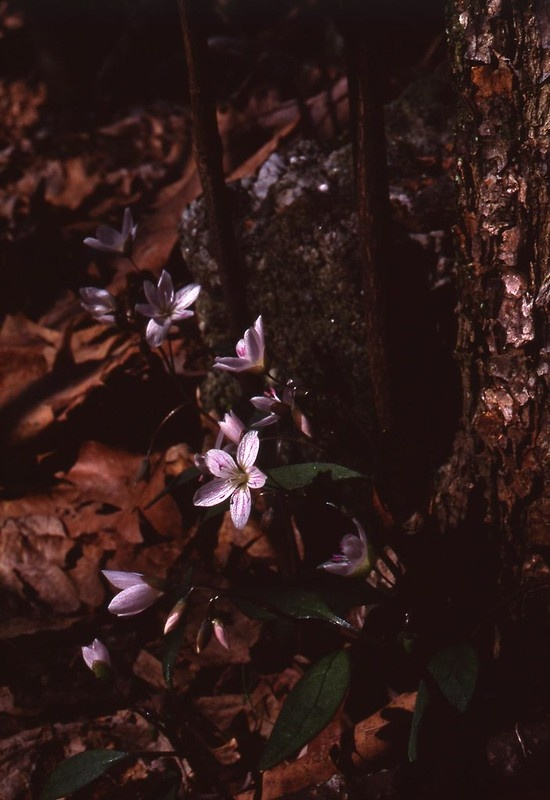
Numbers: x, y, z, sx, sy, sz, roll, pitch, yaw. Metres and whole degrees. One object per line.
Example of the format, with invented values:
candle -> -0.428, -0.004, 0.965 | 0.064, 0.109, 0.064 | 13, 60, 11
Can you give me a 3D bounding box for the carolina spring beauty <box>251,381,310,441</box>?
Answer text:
carolina spring beauty -> 0.019, 0.011, 1.499 | 0.124, 0.042, 0.085 | 13, 19, 18
